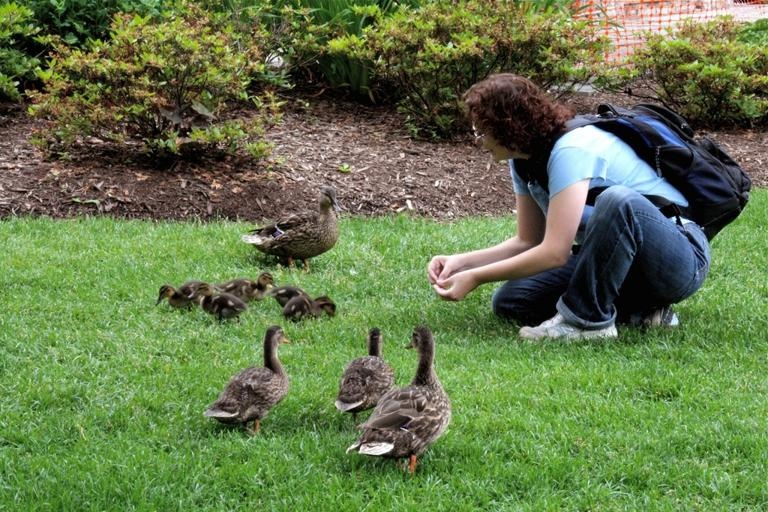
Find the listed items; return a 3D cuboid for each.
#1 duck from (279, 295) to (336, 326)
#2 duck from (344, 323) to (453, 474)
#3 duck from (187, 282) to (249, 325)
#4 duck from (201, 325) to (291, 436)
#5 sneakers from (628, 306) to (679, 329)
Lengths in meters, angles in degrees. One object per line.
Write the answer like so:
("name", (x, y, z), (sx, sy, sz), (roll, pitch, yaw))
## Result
("duck", (-0.875, 0.610, 10.234), (0.571, 0.291, 0.286), (2, -4, -26))
("duck", (0.169, 1.316, 7.985), (0.620, 1.216, 1.070), (5, 10, 34))
("duck", (-1.894, 0.530, 10.125), (0.651, 0.395, 0.257), (6, 3, -7))
("duck", (-1.319, 1.203, 8.515), (0.592, 0.943, 1.139), (10, 14, 29))
("sneakers", (3.050, 0.674, 9.937), (0.612, 0.241, 0.223), (-8, -3, 11))
